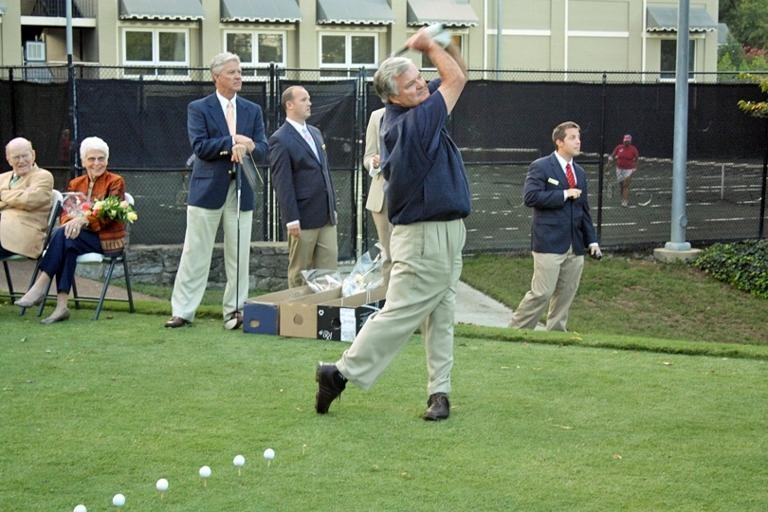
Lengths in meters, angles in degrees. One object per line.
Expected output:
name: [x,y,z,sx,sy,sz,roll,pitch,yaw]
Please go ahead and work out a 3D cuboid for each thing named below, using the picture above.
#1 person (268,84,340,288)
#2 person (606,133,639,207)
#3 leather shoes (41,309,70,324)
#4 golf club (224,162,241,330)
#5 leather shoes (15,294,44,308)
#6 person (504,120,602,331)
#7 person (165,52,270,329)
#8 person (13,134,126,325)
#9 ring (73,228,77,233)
person: [-0.887,-0.802,11.702,0.752,2.450,0.850,1,2,29]
person: [4.140,-1.437,17.086,0.400,1.204,0.483,4,46,2]
leather shoes: [-3.682,0.687,11.102,0.110,0.152,0.313,-3,-3,34]
golf club: [-1.653,-0.095,11.082,0.201,1.823,0.194,2,-3,-23]
leather shoes: [-4.065,0.526,11.392,0.343,0.155,0.175,4,-2,-42]
person: [2.157,-0.372,12.517,0.918,2.969,1.012,2,2,40]
person: [-1.860,-0.746,11.338,0.924,3.431,1.116,1,2,28]
person: [-3.523,-0.335,11.407,1.137,2.064,0.691,-2,4,-31]
ring: [-3.494,-0.297,11.182,0.027,0.041,0.013,-4,32,-11]
